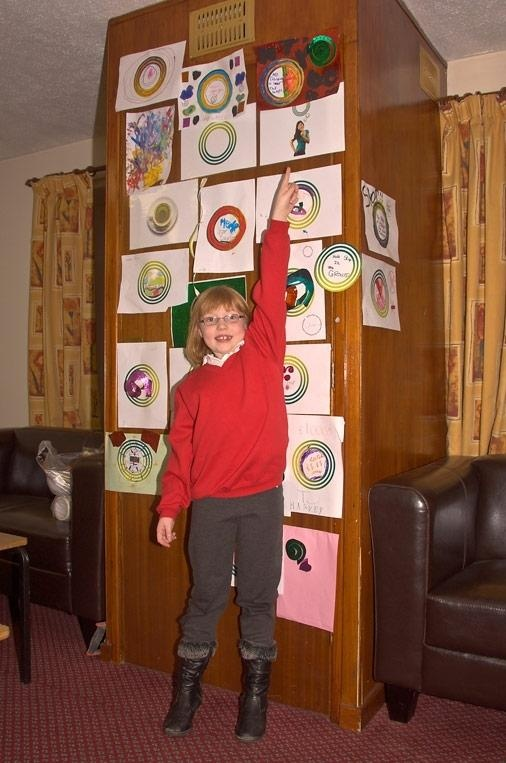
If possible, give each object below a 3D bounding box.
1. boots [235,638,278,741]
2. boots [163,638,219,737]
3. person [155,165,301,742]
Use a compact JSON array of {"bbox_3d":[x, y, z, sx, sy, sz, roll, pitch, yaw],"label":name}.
[{"bbox_3d":[0.001,0.762,1.512,0.094,0.201,0.200,5,-7,5],"label":"boots"},{"bbox_3d":[-0.166,0.770,1.534,0.081,0.195,0.192,8,-10,7],"label":"boots"},{"bbox_3d":[-0.067,0.192,1.529,0.344,1.359,0.196,0,-3,-8],"label":"person"}]
